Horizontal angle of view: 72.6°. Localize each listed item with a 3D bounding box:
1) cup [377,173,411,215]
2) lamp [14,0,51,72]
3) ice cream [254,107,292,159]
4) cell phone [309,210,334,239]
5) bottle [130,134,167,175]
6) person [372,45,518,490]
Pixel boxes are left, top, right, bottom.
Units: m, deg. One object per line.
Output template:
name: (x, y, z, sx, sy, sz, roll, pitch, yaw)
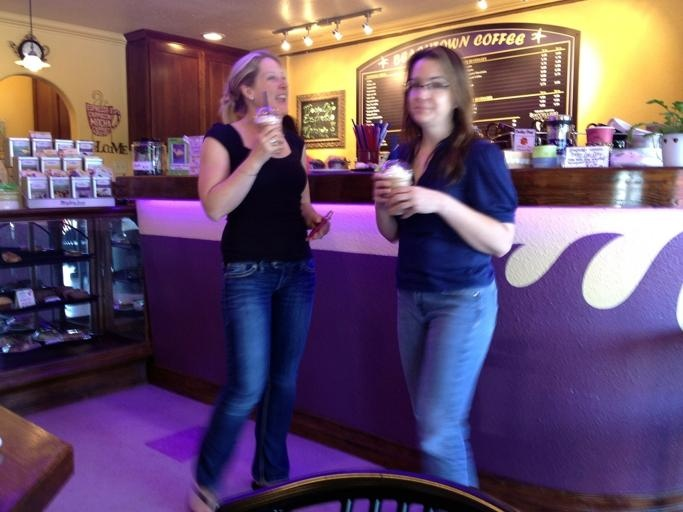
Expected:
cup: (0.149, -0.173, 1.355, 0.120, 0.127, 0.117, 0, 1, 0)
lamp: (-3.392, -2.336, 5.042, 0.363, 0.633, 0.608, -10, 15, -27)
ice cream: (-0.222, -0.393, 1.531, 0.104, 0.151, 0.103, -11, -13, 38)
cell phone: (-0.087, -0.138, 1.933, 0.038, 0.167, 0.046, 31, 28, -23)
bottle: (-1.247, -0.642, 2.975, 0.234, 0.307, 0.227, 1, 7, 0)
person: (0.278, 0.044, 1.456, 0.454, 1.363, 0.486, 5, 16, 27)
